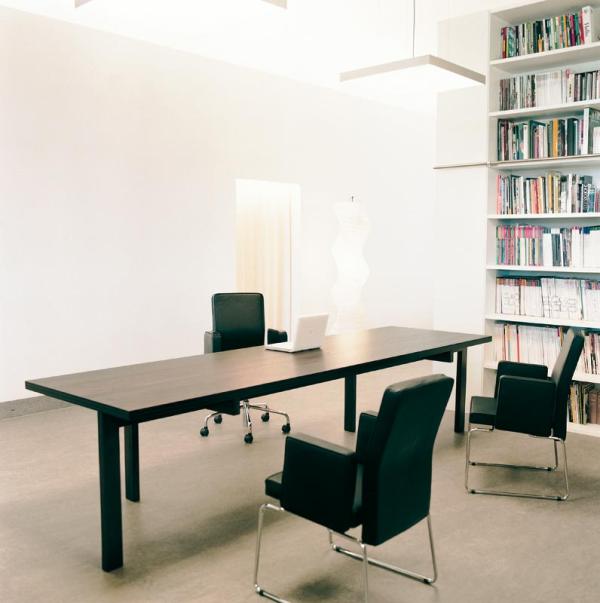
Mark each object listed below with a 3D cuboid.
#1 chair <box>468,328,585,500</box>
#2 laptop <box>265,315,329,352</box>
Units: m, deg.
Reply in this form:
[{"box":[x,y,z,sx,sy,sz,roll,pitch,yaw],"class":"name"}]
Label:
[{"box":[1.405,0.665,3.676,0.629,1.058,0.599,3,6,23],"class":"chair"},{"box":[-0.014,0.222,3.762,0.230,0.217,0.312,4,4,35],"class":"laptop"}]
